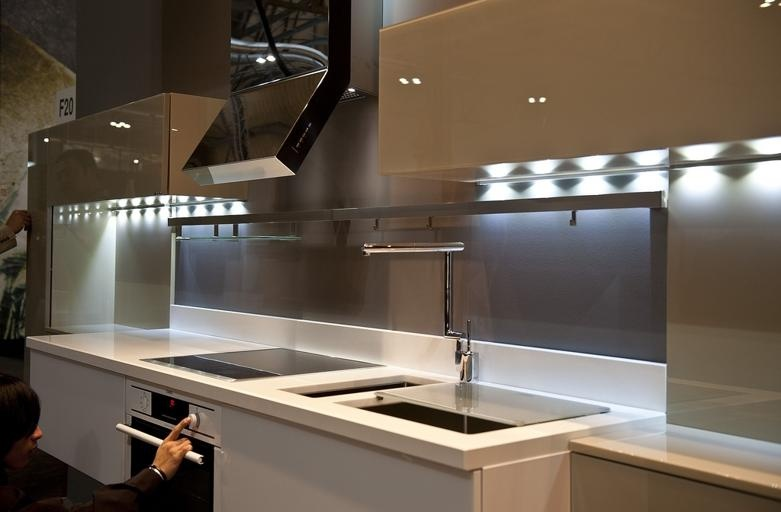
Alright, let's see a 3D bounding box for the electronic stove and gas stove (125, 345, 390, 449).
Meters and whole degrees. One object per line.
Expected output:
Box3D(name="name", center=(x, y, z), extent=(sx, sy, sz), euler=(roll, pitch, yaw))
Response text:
Box3D(name="electronic stove and gas stove", center=(-0.647, 0.634, 2.586), extent=(1.039, 0.204, 0.993), euler=(0, -4, 37))
